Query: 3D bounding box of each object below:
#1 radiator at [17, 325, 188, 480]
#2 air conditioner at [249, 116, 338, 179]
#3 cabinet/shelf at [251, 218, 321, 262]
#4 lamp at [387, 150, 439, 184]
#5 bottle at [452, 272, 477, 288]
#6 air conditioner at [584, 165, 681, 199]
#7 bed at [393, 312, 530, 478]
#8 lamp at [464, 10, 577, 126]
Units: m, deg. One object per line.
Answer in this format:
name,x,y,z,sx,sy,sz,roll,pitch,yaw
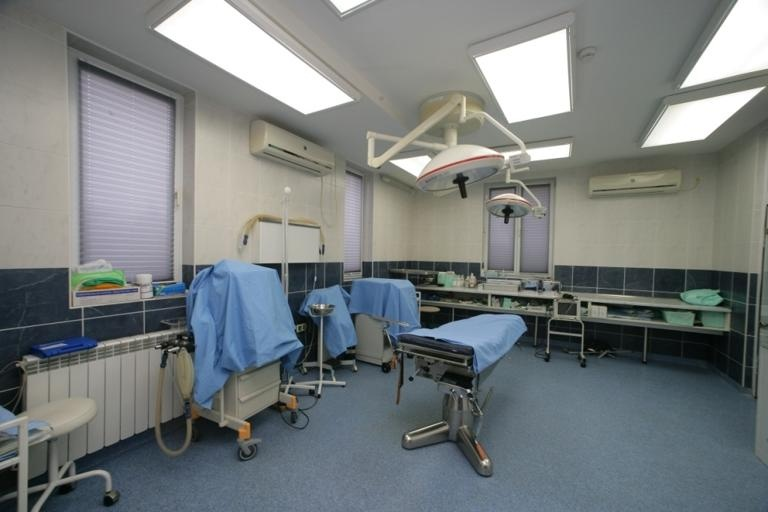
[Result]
radiator,-2.442,1.248,4.222,0.093,0.893,1.279,-1,2,39
air conditioner,-0.989,-1.170,5.611,0.271,0.356,1.075,12,0,38
cabinet/shelf,-1.073,-0.160,5.545,0.089,0.367,0.890,-1,1,44
lamp,0.391,-1.226,6.595,0.502,0.135,0.577,-1,-3,12
bottle,1.203,0.366,7.369,0.252,0.164,0.246,1,-2,0
air conditioner,3.215,-0.941,6.387,1.070,0.292,0.217,-1,1,26
bed,0.895,1.309,5.058,0.970,1.079,1.766,0,-2,34
lamp,1.318,-1.742,4.814,0.905,0.231,1.130,-16,-6,-1
